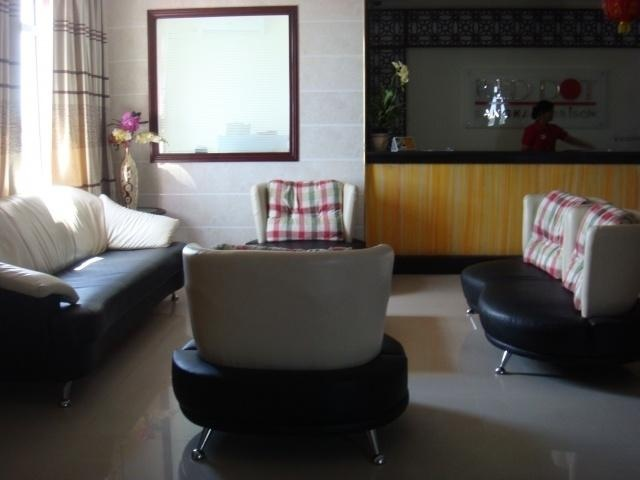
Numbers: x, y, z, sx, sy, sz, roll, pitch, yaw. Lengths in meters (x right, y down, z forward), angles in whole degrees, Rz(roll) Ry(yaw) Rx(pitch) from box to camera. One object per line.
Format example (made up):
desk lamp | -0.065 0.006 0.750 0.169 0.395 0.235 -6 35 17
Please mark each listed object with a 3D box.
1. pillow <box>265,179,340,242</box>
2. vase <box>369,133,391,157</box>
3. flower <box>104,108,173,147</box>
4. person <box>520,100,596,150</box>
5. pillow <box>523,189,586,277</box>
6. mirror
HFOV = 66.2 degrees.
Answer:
pillow | -0.149 -0.259 4.488 0.660 0.487 0.366 -2 14 -6
vase | 0.590 -0.946 4.946 0.182 0.164 0.198 -1 8 1
flower | -1.796 -1.024 4.761 0.478 0.303 0.377 -1 14 -28
person | 2.555 -1.256 5.449 0.658 0.514 0.331 1 14 6
pillow | 1.602 -0.052 3.463 0.453 0.574 0.560 5 8 2
mirror | -0.922 -1.590 4.879 1.300 1.454 0.107 0 4 0
